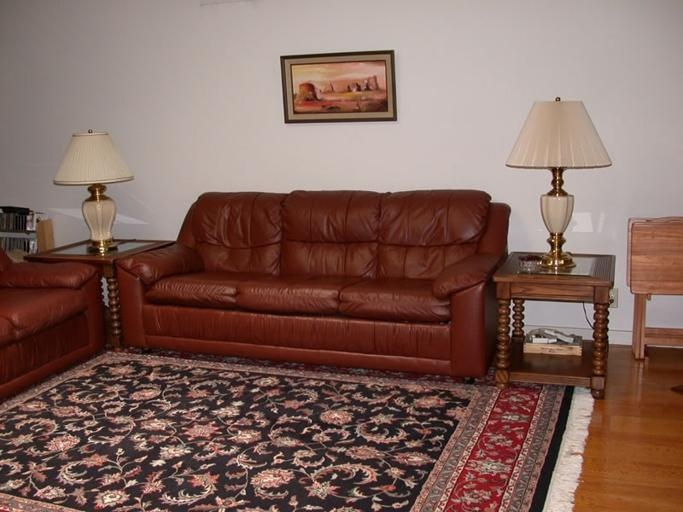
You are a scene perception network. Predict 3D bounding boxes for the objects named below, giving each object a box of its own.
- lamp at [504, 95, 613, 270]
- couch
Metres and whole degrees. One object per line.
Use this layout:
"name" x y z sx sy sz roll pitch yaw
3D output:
"lamp" 1.332 -0.430 3.251 0.513 1.020 0.484 9 17 39
"couch" -0.179 0.143 3.975 2.712 1.066 1.119 1 16 19
